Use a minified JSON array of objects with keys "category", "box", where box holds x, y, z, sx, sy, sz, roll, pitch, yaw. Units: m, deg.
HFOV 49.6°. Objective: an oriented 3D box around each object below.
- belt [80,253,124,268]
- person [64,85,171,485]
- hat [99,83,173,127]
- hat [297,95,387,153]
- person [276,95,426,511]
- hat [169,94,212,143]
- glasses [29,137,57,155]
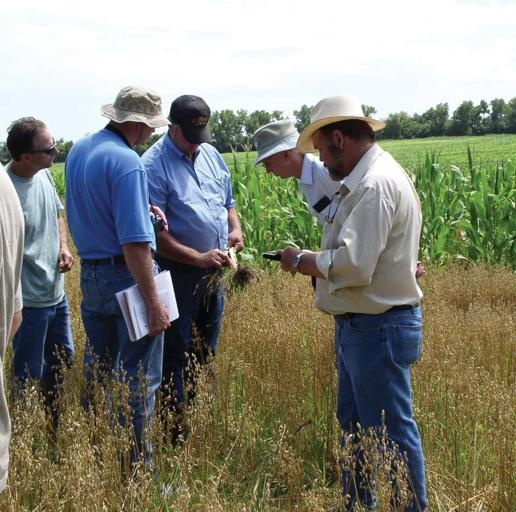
[{"category":"belt","box":[-1.047,0.030,3.710,0.391,0.091,0.073,4,7,25]},{"category":"person","box":[-0.867,0.097,3.671,0.592,2.437,0.938,-4,7,-37]},{"category":"hat","box":[-0.808,-1.021,3.839,0.471,0.244,0.530,11,13,2]},{"category":"hat","box":[0.470,-0.856,3.383,0.506,0.254,0.499,-7,9,22]},{"category":"person","box":[0.580,0.251,3.170,0.807,2.327,0.730,3,6,20]},{"category":"hat","box":[-0.498,-1.079,4.342,0.294,0.259,0.429,-13,40,-36]},{"category":"glasses","box":[-1.562,-0.827,4.246,0.210,0.116,0.237,3,7,18]}]
